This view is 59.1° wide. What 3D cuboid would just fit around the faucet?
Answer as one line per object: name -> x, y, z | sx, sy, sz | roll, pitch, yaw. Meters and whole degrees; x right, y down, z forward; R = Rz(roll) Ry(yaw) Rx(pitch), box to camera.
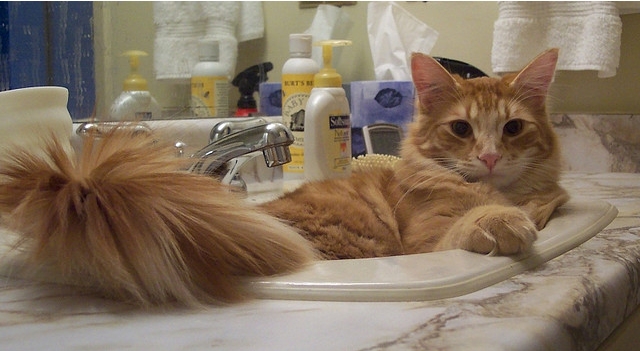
faucet -> -0.191, -0.036, 1.093 | 0.278, 0.099, 0.061 | -11, 3, -31
